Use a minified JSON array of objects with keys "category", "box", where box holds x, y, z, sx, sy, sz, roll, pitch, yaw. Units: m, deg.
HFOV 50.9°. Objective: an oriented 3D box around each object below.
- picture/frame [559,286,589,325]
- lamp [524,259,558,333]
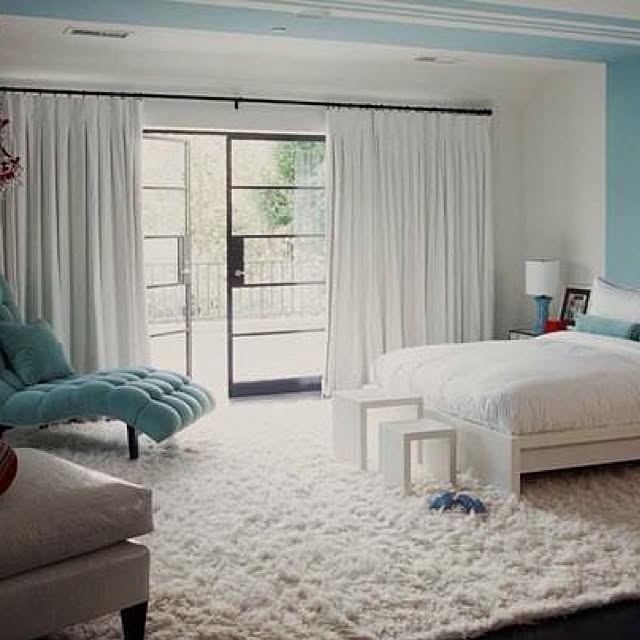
[{"category":"picture/frame","box":[2.123,-0.118,5.606,0.027,0.293,0.251,8,12,-18]},{"category":"lamp","box":[1.943,-0.223,5.902,0.285,0.602,0.647,3,9,20]}]
